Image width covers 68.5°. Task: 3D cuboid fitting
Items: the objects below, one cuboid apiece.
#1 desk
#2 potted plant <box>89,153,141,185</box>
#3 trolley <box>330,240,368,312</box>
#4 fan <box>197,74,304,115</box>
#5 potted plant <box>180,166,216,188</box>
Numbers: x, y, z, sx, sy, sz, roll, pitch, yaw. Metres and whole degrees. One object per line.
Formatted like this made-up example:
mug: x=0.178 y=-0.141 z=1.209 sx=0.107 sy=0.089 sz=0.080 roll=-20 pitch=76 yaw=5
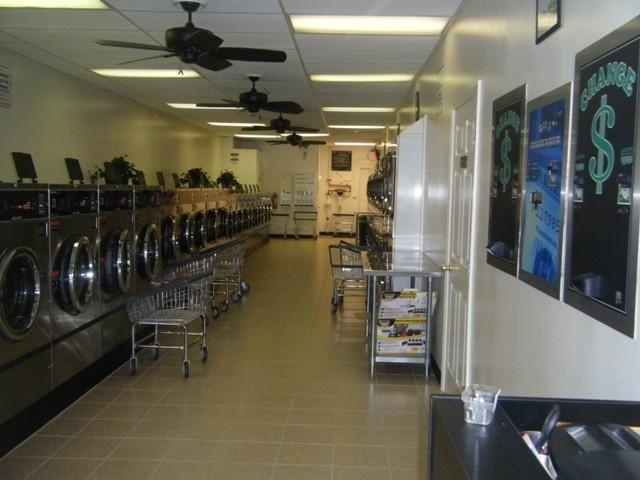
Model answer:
desk: x=0.942 y=0.830 z=5.435 sx=0.842 sy=1.267 sz=1.186 roll=0 pitch=6 yaw=6
potted plant: x=-3.156 y=-1.088 z=7.260 sx=0.744 sy=0.508 sz=2.020 roll=-4 pitch=7 yaw=-26
trolley: x=0.503 y=0.561 z=7.554 sx=0.594 sy=1.002 sz=1.005 roll=-2 pitch=4 yaw=7
fan: x=-1.044 y=-2.220 z=7.634 sx=1.250 sy=0.601 sz=2.409 roll=-2 pitch=6 yaw=-8
potted plant: x=-2.671 y=-1.296 z=10.287 sx=0.691 sy=0.492 sz=0.912 roll=0 pitch=6 yaw=-7
